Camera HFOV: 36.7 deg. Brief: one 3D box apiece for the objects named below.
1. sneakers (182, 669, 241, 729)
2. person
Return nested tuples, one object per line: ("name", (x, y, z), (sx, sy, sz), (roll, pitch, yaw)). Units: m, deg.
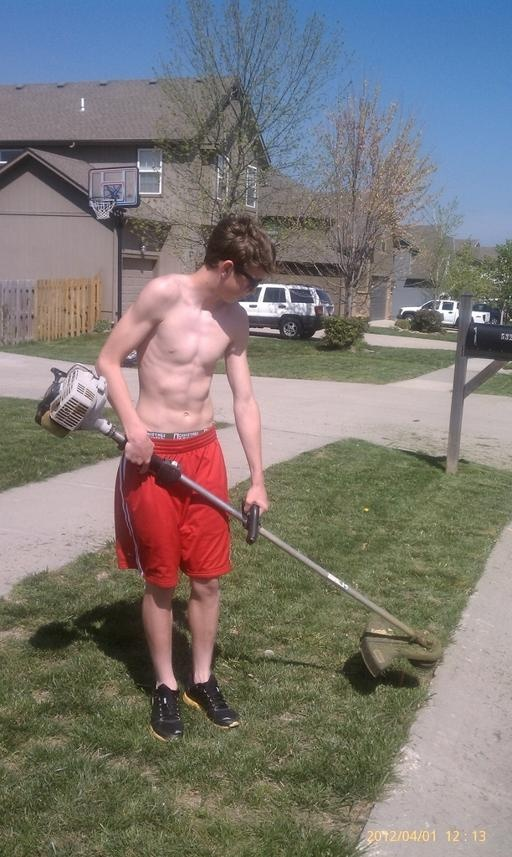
("sneakers", (-0.150, 1.017, 2.916), (0.093, 0.122, 0.274), (4, 7, -44))
("person", (-0.216, 0.141, 2.839), (0.671, 1.850, 0.519), (-3, 12, -37))
